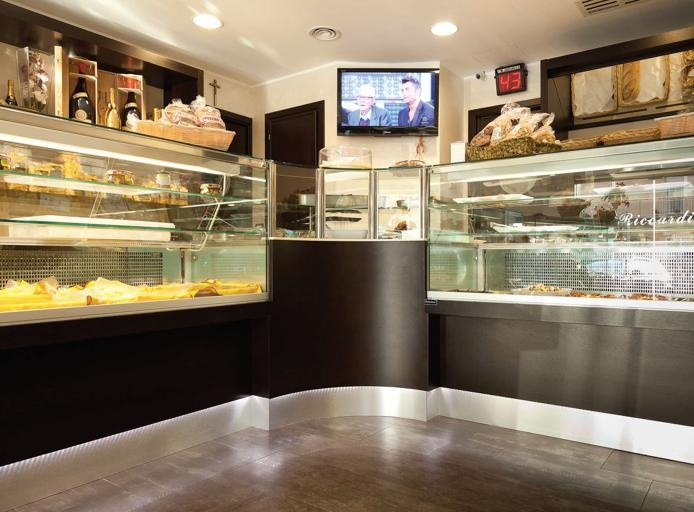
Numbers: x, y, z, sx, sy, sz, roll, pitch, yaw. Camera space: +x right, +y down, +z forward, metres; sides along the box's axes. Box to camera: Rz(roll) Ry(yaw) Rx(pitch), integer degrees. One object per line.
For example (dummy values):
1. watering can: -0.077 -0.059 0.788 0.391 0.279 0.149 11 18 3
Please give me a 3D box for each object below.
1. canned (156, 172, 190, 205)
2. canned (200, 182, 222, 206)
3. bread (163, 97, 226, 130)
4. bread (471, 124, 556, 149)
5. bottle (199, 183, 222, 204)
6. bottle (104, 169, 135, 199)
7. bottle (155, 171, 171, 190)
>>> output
1. canned: -1.019 -0.391 2.797 0.103 0.181 0.212 -3 -2 30
2. canned: -0.827 -0.382 2.951 0.128 0.110 0.123 1 2 7
3. bread: -0.976 -0.881 3.009 0.379 0.167 0.224 5 7 11
4. bread: 1.124 -0.804 3.260 0.367 0.099 0.313 0 5 30
5. bottle: -0.827 -0.380 2.947 0.122 0.095 0.116 1 3 0
6. bottle: -1.219 -0.381 2.614 0.149 0.138 0.143 -2 -4 2
7. bottle: -1.054 -0.433 2.767 0.089 0.092 0.088 -3 6 -43
